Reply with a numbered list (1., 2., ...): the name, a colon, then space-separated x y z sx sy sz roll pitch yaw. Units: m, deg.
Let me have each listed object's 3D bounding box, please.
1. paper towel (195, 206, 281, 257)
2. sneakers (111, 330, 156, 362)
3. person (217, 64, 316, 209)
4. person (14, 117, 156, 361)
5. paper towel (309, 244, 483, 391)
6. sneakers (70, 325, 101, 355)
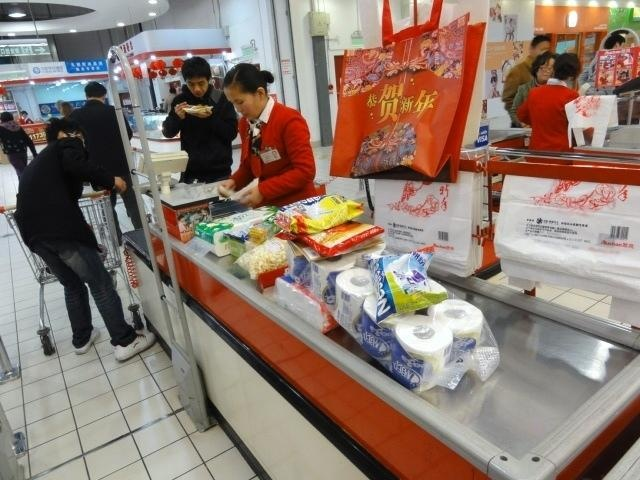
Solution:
1. paper towel: -0.393 -0.058 1.976 0.352 0.102 0.250 -23 30 -31
2. sneakers: -1.461 0.846 3.240 0.149 0.152 0.369 22 35 33
3. person: -0.369 -0.587 2.200 0.594 0.743 0.452 16 31 42
4. person: -1.774 0.058 2.941 0.664 1.827 0.501 -13 24 -17
5. paper towel: 0.195 0.215 1.117 0.316 0.157 0.406 -21 44 -25
6. sneakers: -1.920 0.840 3.312 0.100 0.112 0.284 6 26 5
